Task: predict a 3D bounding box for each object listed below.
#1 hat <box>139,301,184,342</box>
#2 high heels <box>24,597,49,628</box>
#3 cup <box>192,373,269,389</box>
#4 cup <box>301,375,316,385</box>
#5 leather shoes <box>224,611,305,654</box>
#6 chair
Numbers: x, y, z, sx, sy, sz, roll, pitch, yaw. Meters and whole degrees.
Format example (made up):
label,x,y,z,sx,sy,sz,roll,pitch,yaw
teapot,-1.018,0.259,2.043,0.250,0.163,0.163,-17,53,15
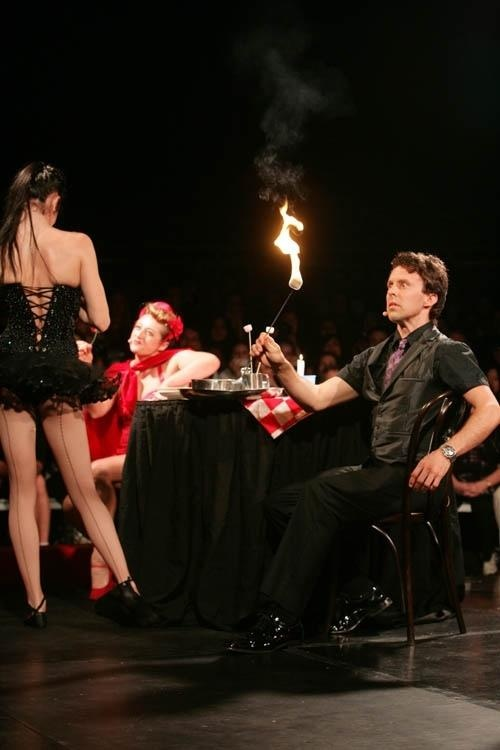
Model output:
label,x,y,z,sx,sy,sz,roll,pitch,yaw
hat,-0.424,-0.252,3.610,0.190,0.151,0.217,-2,10,-5
high heels,-0.727,0.802,2.564,0.068,0.060,0.171,1,-1,-14
cup,-0.069,0.023,2.609,0.235,0.074,0.155,3,-2,-30
cup,0.204,0.019,2.713,0.044,0.038,0.042,2,6,0
leather shoes,0.044,0.740,2.192,0.258,0.089,0.090,4,-8,-37
chair,0.512,0.463,2.532,0.408,0.804,0.497,1,-2,23
